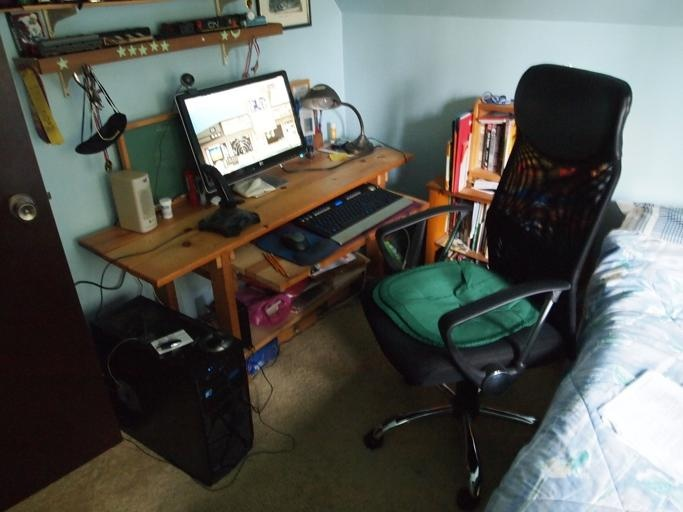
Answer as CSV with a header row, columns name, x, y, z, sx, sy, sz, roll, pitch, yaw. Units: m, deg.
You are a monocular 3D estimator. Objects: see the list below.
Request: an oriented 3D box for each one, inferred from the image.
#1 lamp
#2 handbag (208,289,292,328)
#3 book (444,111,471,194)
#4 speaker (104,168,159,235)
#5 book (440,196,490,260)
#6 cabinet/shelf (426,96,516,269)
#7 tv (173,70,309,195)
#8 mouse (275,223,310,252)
name,x,y,z,sx,sy,sz,roll,pitch,yaw
lamp,-0.014,-0.733,2.907,0.372,0.387,0.200,-2,6,9
handbag,-0.389,0.253,2.716,0.169,0.084,0.228,18,25,40
book,0.616,-0.537,2.815,0.094,0.431,0.323,12,33,25
speaker,-0.923,-0.251,2.355,0.209,0.254,0.130,13,33,27
book,0.659,-0.150,2.807,0.260,0.255,0.114,15,32,20
cabinet/shelf,0.669,-0.364,2.713,0.409,0.789,0.565,22,41,31
tv,-0.510,-0.592,2.590,0.576,0.390,0.123,-31,35,-35
mouse,-0.225,-0.087,2.386,0.088,0.047,0.145,-30,48,-34
